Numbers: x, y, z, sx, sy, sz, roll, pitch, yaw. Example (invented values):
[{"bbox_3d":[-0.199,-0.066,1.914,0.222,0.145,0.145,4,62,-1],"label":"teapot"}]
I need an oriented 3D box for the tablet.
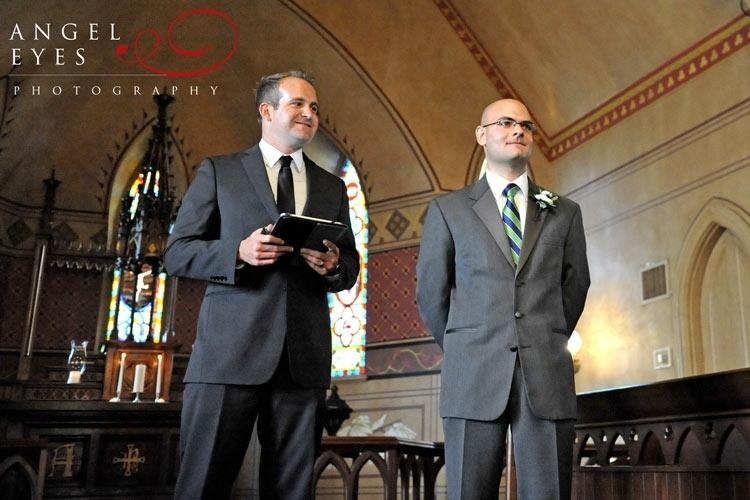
[{"bbox_3d":[-0.337,-0.026,3.290,0.309,0.210,0.353,7,-14,-18],"label":"tablet"}]

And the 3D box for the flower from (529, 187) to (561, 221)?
[{"bbox_3d":[0.940,-0.263,3.642,0.132,0.069,0.134,15,14,-30],"label":"flower"}]

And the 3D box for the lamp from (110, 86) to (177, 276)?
[{"bbox_3d":[-3.102,-0.993,8.653,0.567,2.841,0.589,1,-5,-20],"label":"lamp"}]

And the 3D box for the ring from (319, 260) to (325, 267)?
[{"bbox_3d":[-0.278,0.069,3.381,0.017,0.021,0.022,2,-31,-6],"label":"ring"}]

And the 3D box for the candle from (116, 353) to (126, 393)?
[{"bbox_3d":[-2.665,1.297,6.830,0.064,0.475,0.080,19,-25,-41],"label":"candle"}]

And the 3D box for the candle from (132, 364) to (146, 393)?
[{"bbox_3d":[-2.484,1.331,6.849,0.119,0.310,0.067,11,-21,-24],"label":"candle"}]
